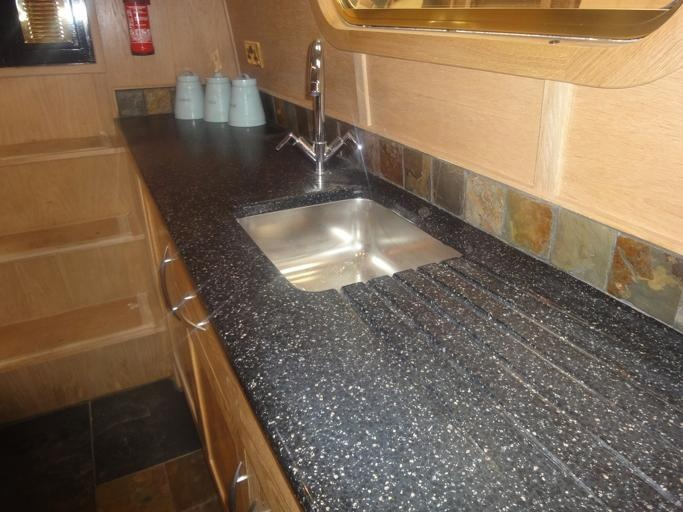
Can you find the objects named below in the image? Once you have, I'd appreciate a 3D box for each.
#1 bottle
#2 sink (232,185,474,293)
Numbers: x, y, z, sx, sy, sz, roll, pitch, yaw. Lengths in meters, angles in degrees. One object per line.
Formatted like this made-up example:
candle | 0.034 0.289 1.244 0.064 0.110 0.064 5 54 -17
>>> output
bottle | -0.655 -0.845 2.393 0.357 0.178 0.143 13 39 11
sink | -0.052 -0.035 1.403 0.341 0.178 0.488 -19 36 -28
